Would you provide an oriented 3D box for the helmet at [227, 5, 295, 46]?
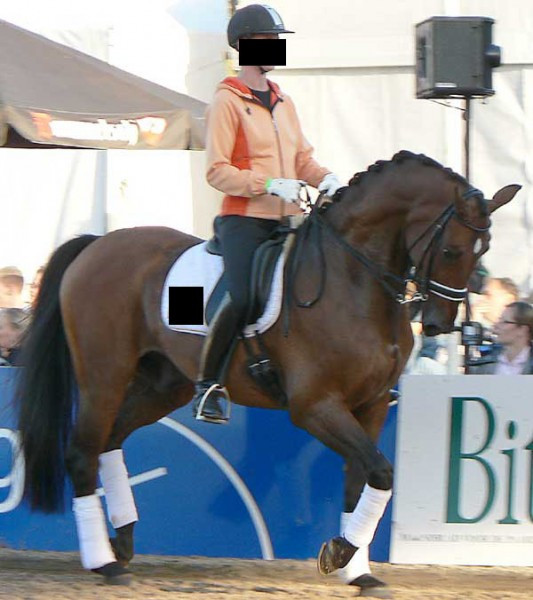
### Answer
[{"bbox_3d":[-0.035,-1.355,5.503,0.281,0.125,0.185,-4,3,33],"label":"helmet"}]

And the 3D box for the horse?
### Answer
[{"bbox_3d":[-0.064,0.424,5.664,3.241,2.114,0.785,1,-6,35],"label":"horse"}]

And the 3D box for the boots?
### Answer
[{"bbox_3d":[-0.235,0.271,5.351,0.211,0.629,0.172,3,3,-20],"label":"boots"}]

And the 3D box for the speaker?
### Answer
[{"bbox_3d":[1.199,-1.603,7.584,0.626,0.497,0.556,0,-1,-2],"label":"speaker"}]

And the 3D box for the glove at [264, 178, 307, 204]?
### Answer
[{"bbox_3d":[0.088,-0.528,5.325,0.159,0.112,0.066,31,-28,3],"label":"glove"}]

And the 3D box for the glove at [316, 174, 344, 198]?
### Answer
[{"bbox_3d":[0.319,-0.577,5.533,0.109,0.051,0.134,14,36,26],"label":"glove"}]
